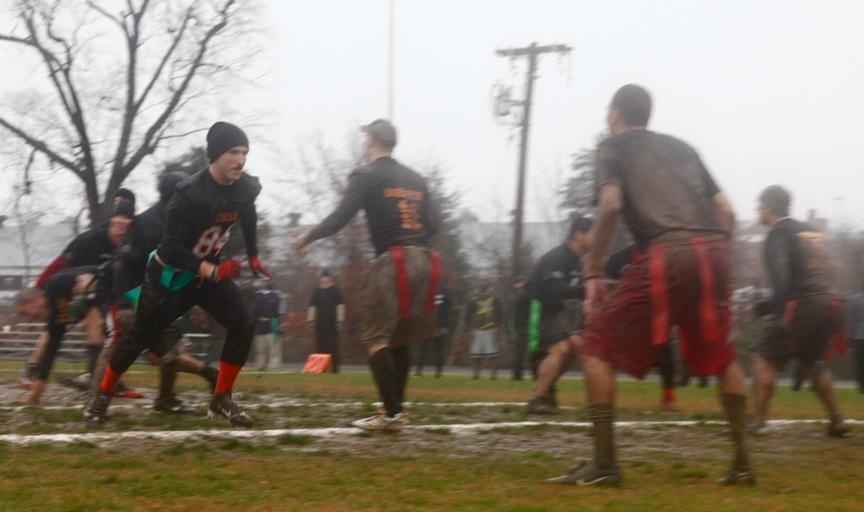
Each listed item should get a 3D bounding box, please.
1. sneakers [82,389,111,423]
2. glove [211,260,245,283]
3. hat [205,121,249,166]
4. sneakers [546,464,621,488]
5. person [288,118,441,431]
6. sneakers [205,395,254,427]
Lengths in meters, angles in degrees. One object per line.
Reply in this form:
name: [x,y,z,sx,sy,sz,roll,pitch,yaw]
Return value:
sneakers: [-3.210,1.448,6.585,0.164,0.177,0.421,26,-2,-18]
glove: [-1.839,0.133,6.053,0.216,0.098,0.252,-3,2,-5]
hat: [-1.938,-1.066,6.241,0.388,0.412,0.251,-3,-10,27]
sneakers: [1.076,1.515,4.744,0.547,0.148,0.170,3,-16,4]
person: [-0.477,0.314,6.382,1.098,2.571,0.522,3,-10,-6]
sneakers: [-2.002,1.527,6.670,0.529,0.169,0.250,18,-36,5]
